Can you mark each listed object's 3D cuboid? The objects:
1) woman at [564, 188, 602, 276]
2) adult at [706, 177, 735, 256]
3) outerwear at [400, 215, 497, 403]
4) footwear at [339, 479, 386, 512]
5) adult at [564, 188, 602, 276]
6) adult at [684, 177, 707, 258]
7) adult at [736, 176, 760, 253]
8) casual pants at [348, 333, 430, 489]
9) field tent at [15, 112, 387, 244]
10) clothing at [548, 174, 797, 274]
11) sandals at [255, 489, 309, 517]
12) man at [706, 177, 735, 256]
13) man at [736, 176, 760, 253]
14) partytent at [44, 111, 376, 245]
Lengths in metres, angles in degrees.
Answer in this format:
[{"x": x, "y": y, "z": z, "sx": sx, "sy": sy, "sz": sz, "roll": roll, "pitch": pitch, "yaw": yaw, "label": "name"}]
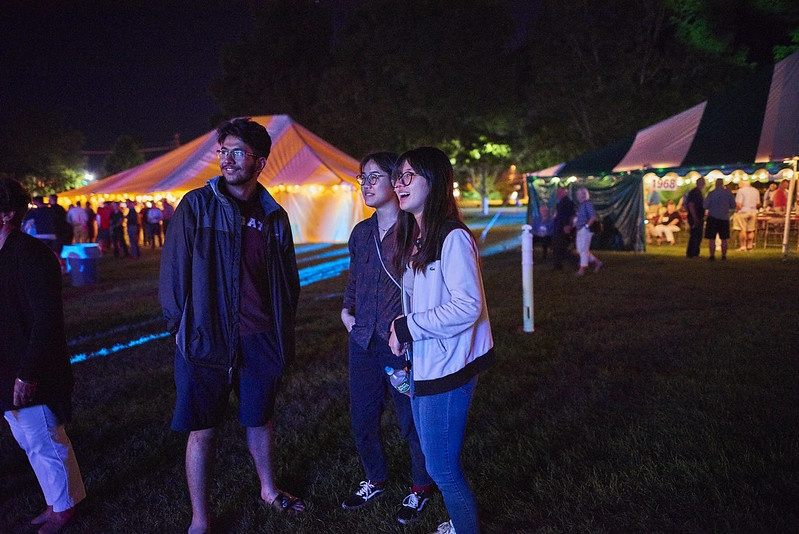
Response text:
[{"x": 4.288, "y": -0.885, "z": 12.707, "sx": 0.599, "sy": 1.934, "sz": 1.475, "roll": 1, "pitch": 9, "yaw": 19, "label": "woman"}, {"x": 8.036, "y": -1.261, "z": 13.967, "sx": 0.632, "sy": 2.030, "sz": 1.122, "roll": 3, "pitch": 10, "yaw": 30, "label": "adult"}, {"x": 0.361, "y": 0.318, "z": 4.398, "sx": 0.726, "sy": 1.377, "sz": 0.416, "roll": 0, "pitch": 8, "yaw": 10, "label": "outerwear"}, {"x": -0.331, "y": 2.085, "z": 5.178, "sx": 0.462, "sy": 0.198, "sz": 0.171, "roll": -3, "pitch": 6, "yaw": -36, "label": "footwear"}, {"x": 4.288, "y": -0.885, "z": 12.708, "sx": 0.599, "sy": 1.934, "sz": 1.475, "roll": 1, "pitch": 9, "yaw": 19, "label": "adult"}, {"x": 7.648, "y": -1.253, "z": 14.350, "sx": 0.395, "sy": 1.909, "sz": 1.006, "roll": 2, "pitch": 9, "yaw": 27, "label": "adult"}, {"x": 9.838, "y": -1.532, "z": 15.820, "sx": 0.660, "sy": 1.979, "sz": 0.657, "roll": 2, "pitch": 1, "yaw": 6, "label": "adult"}, {"x": -0.079, "y": 1.151, "z": 5.107, "sx": 0.649, "sy": 2.071, "sz": 0.403, "roll": 2, "pitch": 22, "yaw": 12, "label": "casual pants"}, {"x": -5.215, "y": -4.001, "z": 25.336, "sx": 8.972, "sy": 4.257, "sz": 9.443, "roll": -1, "pitch": 7, "yaw": 11, "label": "field tent"}, {"x": 7.943, "y": -1.691, "z": 17.527, "sx": 4.537, "sy": 2.277, "sz": 4.649, "roll": 0, "pitch": -4, "yaw": 38, "label": "clothing"}, {"x": -1.066, "y": 2.164, "z": 5.085, "sx": 0.358, "sy": 0.105, "sz": 0.180, "roll": 6, "pitch": 12, "yaw": 24, "label": "sandals"}, {"x": 8.036, "y": -1.261, "z": 13.967, "sx": 0.632, "sy": 2.030, "sz": 1.122, "roll": 3, "pitch": 10, "yaw": 30, "label": "man"}, {"x": 9.842, "y": -1.528, "z": 15.821, "sx": 0.649, "sy": 1.960, "sz": 0.641, "roll": 2, "pitch": 3, "yaw": 7, "label": "man"}, {"x": -4.663, "y": -3.949, "z": 24.975, "sx": 8.578, "sy": 4.025, "sz": 8.998, "roll": 0, "pitch": 7, "yaw": 15, "label": "partytent"}]
